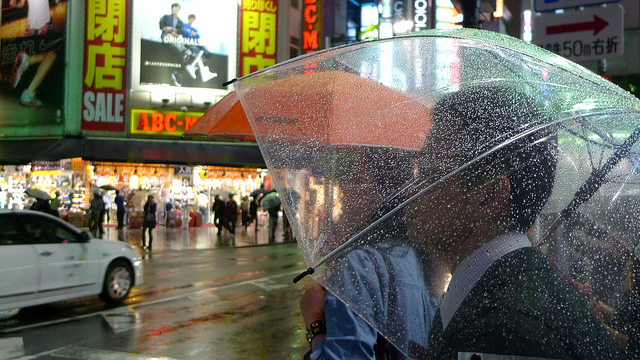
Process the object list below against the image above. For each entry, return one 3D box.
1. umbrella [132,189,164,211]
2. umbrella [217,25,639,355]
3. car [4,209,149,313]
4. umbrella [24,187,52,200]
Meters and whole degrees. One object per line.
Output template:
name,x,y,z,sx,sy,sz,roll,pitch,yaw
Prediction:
umbrella,-8.864,0.948,29.339,1.623,0.781,1.660,-2,-9,22
umbrella,0.884,0.150,4.300,2.203,1.534,2.358,34,-13,2
car,-4.773,1.615,11.196,2.777,1.256,1.327,0,-2,-39
umbrella,-11.222,0.571,22.385,0.873,0.484,0.814,1,0,-4
